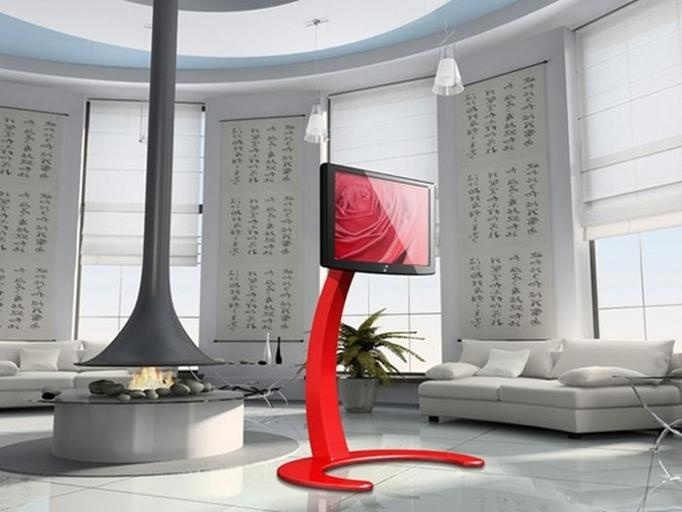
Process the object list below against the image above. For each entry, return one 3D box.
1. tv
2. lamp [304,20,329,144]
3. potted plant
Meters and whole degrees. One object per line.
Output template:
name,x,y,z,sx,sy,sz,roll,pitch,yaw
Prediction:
tv,0.289,-0.205,3.547,0.917,0.649,0.111,10,17,42
lamp,-0.261,-1.949,6.225,0.281,1.217,0.261,11,21,31
potted plant,0.192,1.309,6.659,1.252,0.937,1.338,0,-12,12
